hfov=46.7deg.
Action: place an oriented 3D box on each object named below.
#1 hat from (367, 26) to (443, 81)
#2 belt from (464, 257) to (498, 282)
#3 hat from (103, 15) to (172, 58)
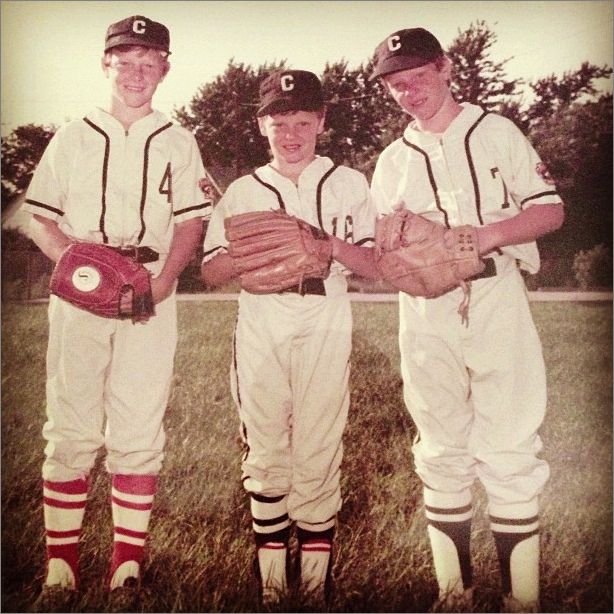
[{"bbox_3d":[0.477,-1.308,3.542,0.306,0.167,0.377,-8,28,24],"label":"hat"},{"bbox_3d":[0.815,-0.184,3.331,0.140,0.114,0.033,1,-2,25],"label":"belt"},{"bbox_3d":[-0.862,-1.405,3.597,0.329,0.115,0.390,-5,31,-21],"label":"hat"}]
